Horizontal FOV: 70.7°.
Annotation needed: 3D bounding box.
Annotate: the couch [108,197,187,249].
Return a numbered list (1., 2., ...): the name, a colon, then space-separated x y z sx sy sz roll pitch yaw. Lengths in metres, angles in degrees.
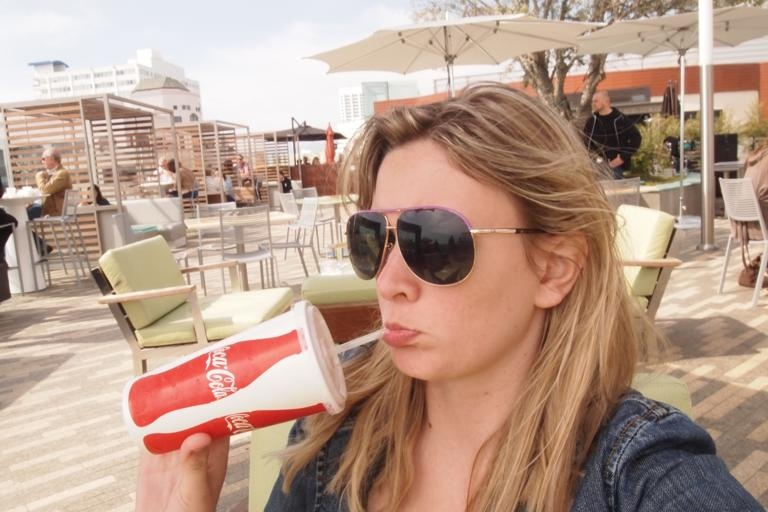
1. couch: -4.219 -0.587 9.568 1.221 0.785 0.648 0 11 4

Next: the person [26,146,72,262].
1. person: -5.752 -0.965 9.263 0.841 1.617 0.691 15 16 -4

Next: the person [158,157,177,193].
1. person: -5.892 -2.252 14.716 0.289 1.096 1.209 3 -2 -37

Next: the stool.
1. stool: -0.142 0.402 4.321 0.771 0.458 0.570 -8 -1 43

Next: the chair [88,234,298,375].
1. chair: -1.442 0.412 4.283 1.233 1.012 1.091 -1 13 4
